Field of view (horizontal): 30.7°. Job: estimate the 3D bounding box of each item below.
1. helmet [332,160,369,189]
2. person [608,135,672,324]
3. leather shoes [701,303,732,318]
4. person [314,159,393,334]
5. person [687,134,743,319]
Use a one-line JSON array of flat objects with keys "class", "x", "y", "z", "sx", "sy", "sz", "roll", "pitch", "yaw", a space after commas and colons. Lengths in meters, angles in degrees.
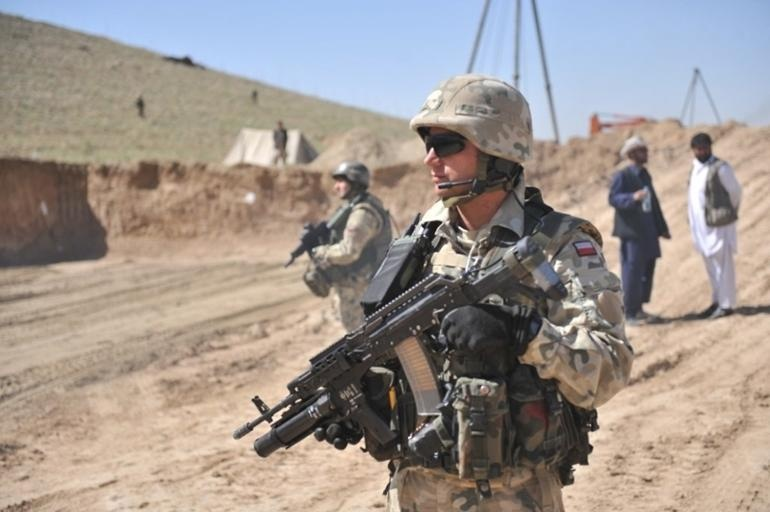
[{"class": "helmet", "x": -0.524, "y": -1.182, "z": 20.589, "sx": 0.447, "sy": 0.388, "sz": 0.366, "roll": -10, "pitch": 12, "yaw": -12}, {"class": "person", "x": 3.675, "y": -0.441, "z": 20.470, "sx": 1.066, "sy": 3.123, "sz": 0.836, "roll": 1, "pitch": 1, "yaw": 8}, {"class": "leather shoes", "x": 4.467, "y": 0.746, "z": 18.975, "sx": 0.127, "sy": 0.183, "sz": 0.419, "roll": -12, "pitch": 7, "yaw": -29}, {"class": "person", "x": -0.473, "y": -0.070, "z": 20.626, "sx": 1.146, "sy": 2.774, "sz": 0.984, "roll": -2, "pitch": -15, "yaw": 13}, {"class": "person", "x": 4.366, "y": -0.414, "z": 18.607, "sx": 0.559, "sy": 2.351, "sz": 0.697, "roll": 4, "pitch": -2, "yaw": -30}]
